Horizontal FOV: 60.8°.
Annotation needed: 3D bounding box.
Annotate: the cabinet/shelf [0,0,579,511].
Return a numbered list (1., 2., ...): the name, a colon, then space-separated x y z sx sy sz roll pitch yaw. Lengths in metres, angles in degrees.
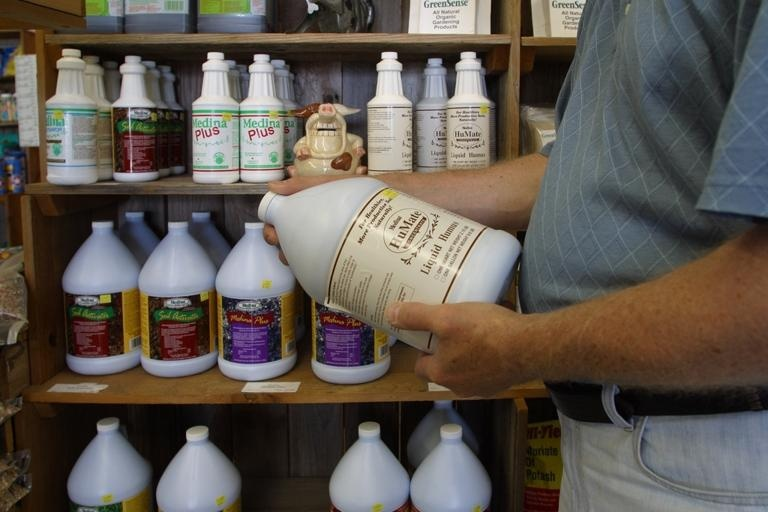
1. cabinet/shelf: -0.258 -0.038 1.650 1.697 1.450 0.526 -1 3 -3
